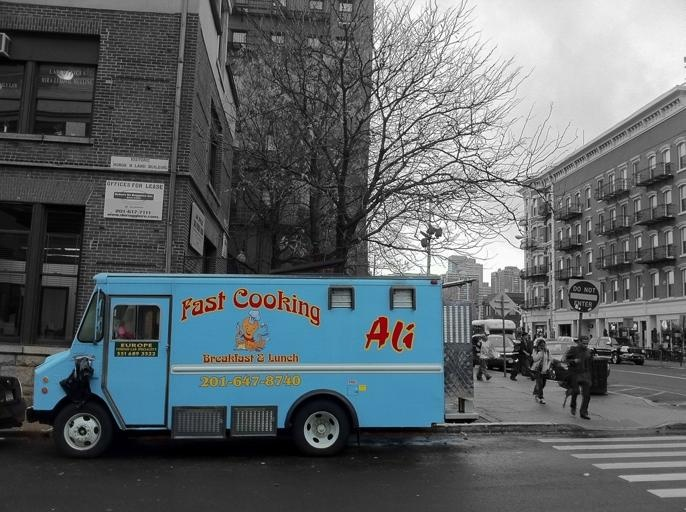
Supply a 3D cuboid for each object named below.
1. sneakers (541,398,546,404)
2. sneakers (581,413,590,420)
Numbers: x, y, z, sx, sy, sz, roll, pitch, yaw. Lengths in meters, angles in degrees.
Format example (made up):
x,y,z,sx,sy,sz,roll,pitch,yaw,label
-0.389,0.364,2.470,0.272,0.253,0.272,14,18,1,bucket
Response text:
x,y,z,sx,sy,sz,roll,pitch,yaw,label
5.843,4.168,20.833,0.083,0.195,0.263,1,2,33,sneakers
6.203,4.043,18.337,0.113,0.142,0.307,5,-13,-17,sneakers
